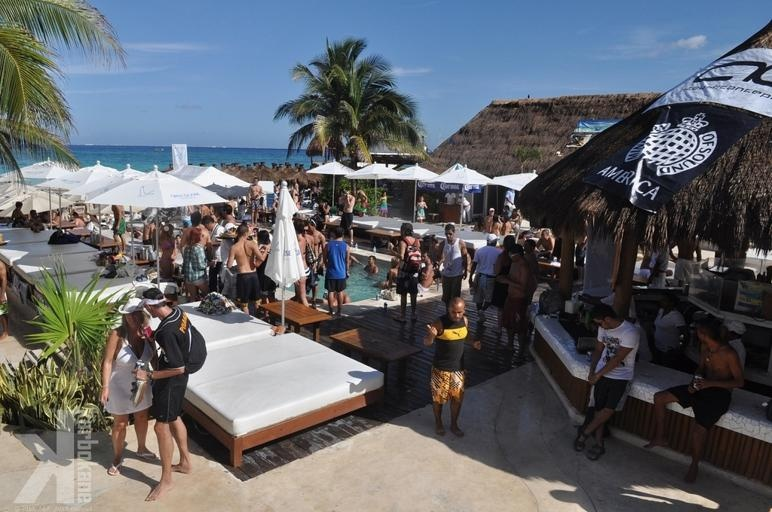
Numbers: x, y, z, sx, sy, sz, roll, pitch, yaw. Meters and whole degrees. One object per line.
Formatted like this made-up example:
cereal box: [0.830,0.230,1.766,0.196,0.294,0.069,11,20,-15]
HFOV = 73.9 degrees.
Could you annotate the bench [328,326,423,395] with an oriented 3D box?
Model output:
bench: [-0.247,1.947,9.380,0.847,0.792,1.578,-12,18,-43]

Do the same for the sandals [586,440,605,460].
sandals: [3.052,2.845,7.475,0.169,0.141,0.334,-3,0,39]

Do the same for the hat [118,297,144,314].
hat: [-3.211,0.636,6.468,0.258,0.094,0.211,-14,26,-3]

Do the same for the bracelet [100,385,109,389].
bracelet: [-3.578,1.673,6.505,0.051,0.038,0.051,3,10,5]

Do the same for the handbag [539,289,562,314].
handbag: [3.133,0.908,9.872,0.351,0.467,0.484,-4,3,-44]

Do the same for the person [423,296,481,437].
person: [0.941,1.654,7.742,0.595,2.135,0.687,3,9,18]

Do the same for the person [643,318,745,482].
person: [4.407,2.149,7.311,1.258,2.345,1.133,-16,27,-10]

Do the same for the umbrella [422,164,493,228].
umbrella: [2.785,-2.241,18.815,2.607,1.865,2.333,1,9,9]

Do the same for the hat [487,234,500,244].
hat: [2.705,-0.415,12.974,0.475,0.240,0.711,1,6,8]

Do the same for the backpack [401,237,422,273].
backpack: [0.537,0.002,11.207,0.412,0.774,0.243,0,9,-1]

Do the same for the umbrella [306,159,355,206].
umbrella: [-2.495,-3.037,22.843,2.360,2.140,2.323,-8,18,-36]

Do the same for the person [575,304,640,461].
person: [3.170,1.828,7.402,0.716,2.246,0.390,-2,9,-16]

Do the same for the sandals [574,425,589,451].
sandals: [2.878,2.730,7.564,0.151,0.421,0.160,3,-7,-1]

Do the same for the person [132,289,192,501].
person: [-2.802,1.733,6.544,0.661,2.643,0.517,-4,10,-26]

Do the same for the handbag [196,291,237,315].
handbag: [-3.324,0.944,10.064,0.401,0.224,0.569,5,4,9]
